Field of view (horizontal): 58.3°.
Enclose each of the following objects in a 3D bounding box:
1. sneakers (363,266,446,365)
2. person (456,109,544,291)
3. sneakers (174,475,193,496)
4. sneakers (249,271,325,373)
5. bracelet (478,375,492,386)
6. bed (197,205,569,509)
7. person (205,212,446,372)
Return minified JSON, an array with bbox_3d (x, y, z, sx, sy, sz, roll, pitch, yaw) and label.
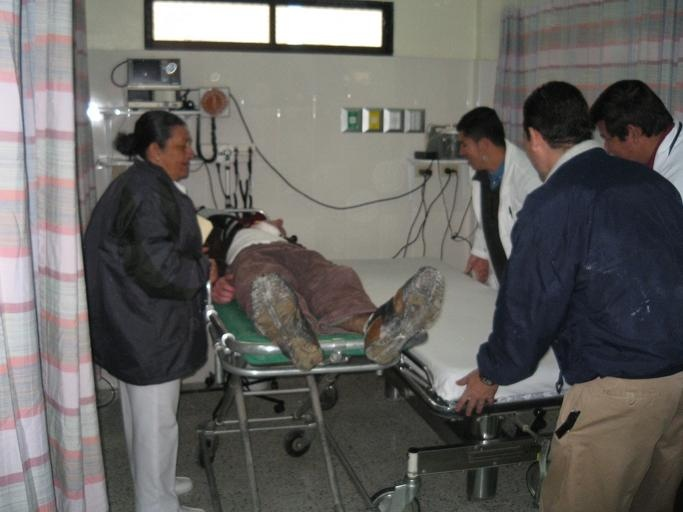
[{"bbox_3d":[0.206,0.217,2.095,0.257,0.383,0.155,1,10,2],"label":"sneakers"},{"bbox_3d":[0.801,-0.318,3.113,0.434,0.462,1.255,-4,-34,14],"label":"person"},{"bbox_3d":[-0.743,1.077,2.863,0.041,0.073,0.119,-3,-16,-15],"label":"sneakers"},{"bbox_3d":[-0.191,0.220,2.104,0.200,0.342,0.146,-34,12,0],"label":"sneakers"},{"bbox_3d":[0.506,0.441,2.143,0.047,0.018,0.035,22,16,-23],"label":"bracelet"},{"bbox_3d":[0.228,0.564,2.818,1.666,1.146,1.240,-5,20,-15],"label":"bed"},{"bbox_3d":[-0.200,0.066,2.664,0.637,0.353,1.467,-1,13,-20],"label":"person"}]
